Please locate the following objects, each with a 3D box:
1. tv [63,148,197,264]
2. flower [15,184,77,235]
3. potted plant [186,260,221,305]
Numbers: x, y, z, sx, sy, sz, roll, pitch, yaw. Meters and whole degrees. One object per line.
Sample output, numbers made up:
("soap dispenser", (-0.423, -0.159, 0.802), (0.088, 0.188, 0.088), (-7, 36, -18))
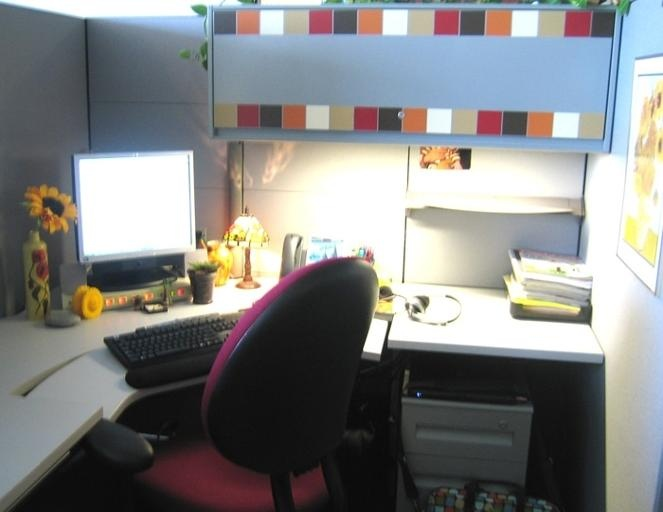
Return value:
("tv", (-0.763, -0.189, 2.157), (0.400, 0.363, 0.042), (-6, 9, -31))
("flower", (-1.044, -0.140, 2.050), (0.075, 0.201, 0.191), (-9, -10, 27))
("potted plant", (-0.501, 0.097, 2.189), (0.140, 0.181, 0.141), (1, 4, 2))
